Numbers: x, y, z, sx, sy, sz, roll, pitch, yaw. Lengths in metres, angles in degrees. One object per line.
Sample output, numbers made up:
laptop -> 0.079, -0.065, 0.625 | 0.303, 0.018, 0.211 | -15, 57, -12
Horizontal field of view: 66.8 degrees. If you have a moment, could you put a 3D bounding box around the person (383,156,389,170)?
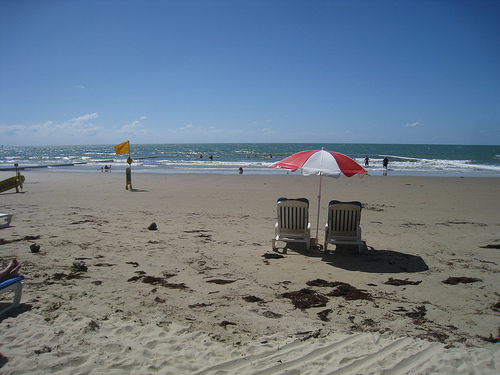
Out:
person -> 12.931, -2.351, 36.287 | 0.301, 1.137, 1.719 | 4, 12, 17

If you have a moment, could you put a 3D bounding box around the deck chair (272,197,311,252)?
deck chair -> 1.097, 0.872, 9.537 | 0.950, 1.248, 1.646 | 2, 4, 11

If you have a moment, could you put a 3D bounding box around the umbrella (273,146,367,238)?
umbrella -> 1.617, 0.121, 8.881 | 2.227, 2.120, 2.131 | 4, 3, -20

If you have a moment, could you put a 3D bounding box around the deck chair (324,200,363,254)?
deck chair -> 2.168, 0.811, 9.309 | 0.771, 1.022, 1.309 | 1, 2, 9
